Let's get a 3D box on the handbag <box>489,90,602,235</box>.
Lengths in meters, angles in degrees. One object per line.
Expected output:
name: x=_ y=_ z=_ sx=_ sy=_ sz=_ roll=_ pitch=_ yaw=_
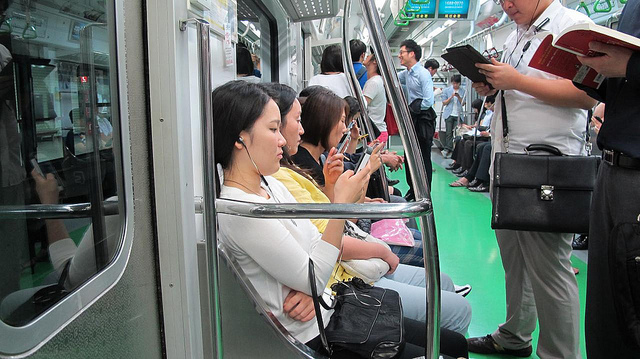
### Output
handbag: x=1.264 y=-0.170 z=2.363 sx=0.560 sy=0.929 sz=0.123 roll=3 pitch=-4 yaw=8

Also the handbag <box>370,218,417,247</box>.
handbag: x=0.489 y=0.344 z=2.760 sx=0.259 sy=0.074 sz=0.254 roll=-3 pitch=32 yaw=2

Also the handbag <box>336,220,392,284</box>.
handbag: x=0.185 y=0.432 z=2.266 sx=0.334 sy=0.118 sz=0.304 roll=35 pitch=37 yaw=4

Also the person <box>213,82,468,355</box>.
person: x=-0.017 y=0.192 z=1.781 sx=0.884 sy=1.228 sz=0.591 roll=-1 pitch=7 yaw=9

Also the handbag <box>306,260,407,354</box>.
handbag: x=0.145 y=0.497 z=1.766 sx=0.381 sy=0.361 sz=0.332 roll=-1 pitch=7 yaw=4
